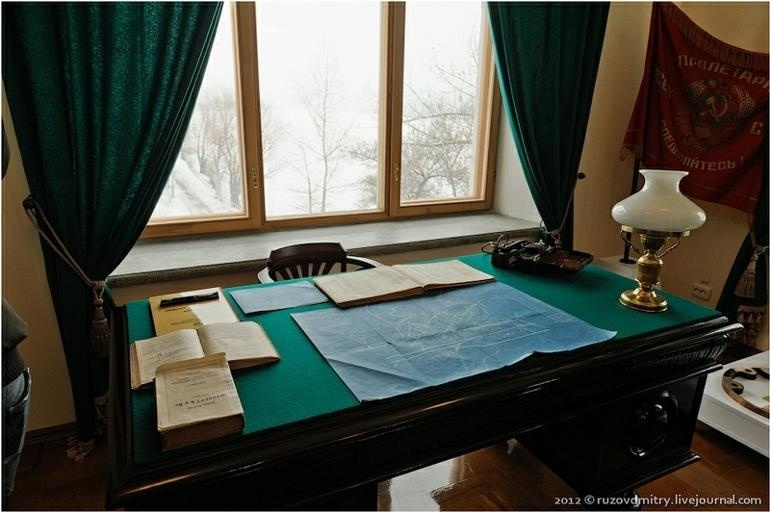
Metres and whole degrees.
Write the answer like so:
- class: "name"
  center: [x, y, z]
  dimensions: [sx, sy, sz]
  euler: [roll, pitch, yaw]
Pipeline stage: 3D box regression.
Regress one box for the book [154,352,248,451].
- class: "book"
  center: [-0.595, 0.446, 1.494]
  dimensions: [0.278, 0.077, 0.310]
  euler: [-2, 26, -16]
